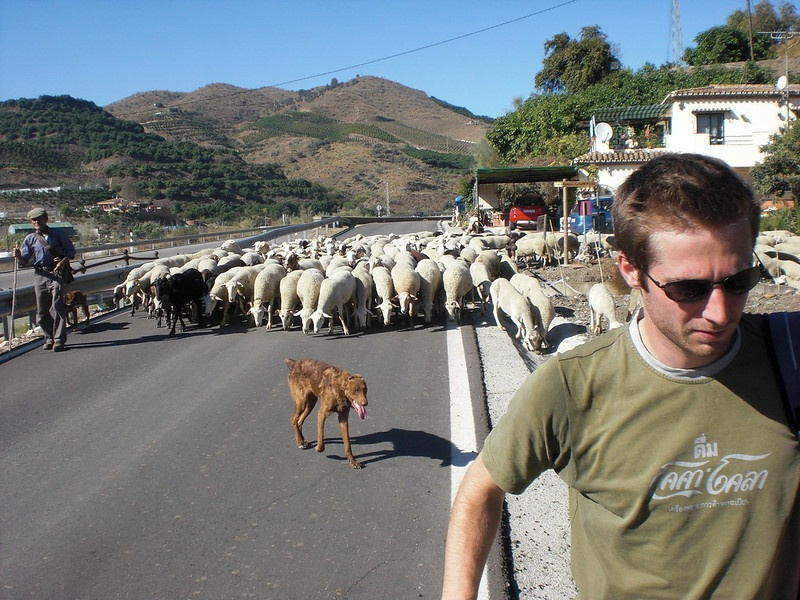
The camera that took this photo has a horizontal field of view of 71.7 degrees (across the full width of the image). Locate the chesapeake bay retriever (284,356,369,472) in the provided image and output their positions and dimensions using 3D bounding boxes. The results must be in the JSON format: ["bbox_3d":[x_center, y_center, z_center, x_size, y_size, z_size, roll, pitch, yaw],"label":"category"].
[{"bbox_3d":[-0.773,1.127,5.714,0.343,0.989,1.411,-4,13,-45],"label":"chesapeake bay retriever"}]

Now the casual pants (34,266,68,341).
[{"bbox_3d":[-6.702,0.114,10.757,0.550,1.775,0.455,15,24,3],"label":"casual pants"}]

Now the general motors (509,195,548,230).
[{"bbox_3d":[8.120,-5.674,35.919,1.584,1.500,2.910,0,15,8],"label":"general motors"}]

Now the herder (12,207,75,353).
[{"bbox_3d":[-6.904,-0.489,10.840,1.150,2.862,1.089,-2,2,-15],"label":"herder"}]

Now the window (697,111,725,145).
[{"bbox_3d":[19.521,-10.864,35.026,1.845,2.499,0.162,2,7,11],"label":"window"}]
